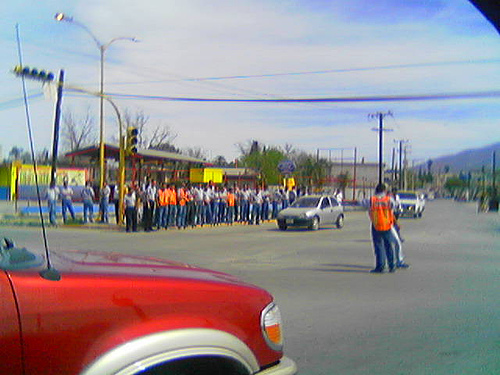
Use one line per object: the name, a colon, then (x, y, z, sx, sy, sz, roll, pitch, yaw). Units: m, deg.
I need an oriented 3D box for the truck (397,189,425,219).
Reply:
truck: (8.516, 0.426, 41.059, 1.317, 0.724, 2.377, -2, 32, 19)

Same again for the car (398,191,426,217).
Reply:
car: (8.515, 0.813, 40.362, 1.377, 0.738, 1.909, 0, -1, 3)
